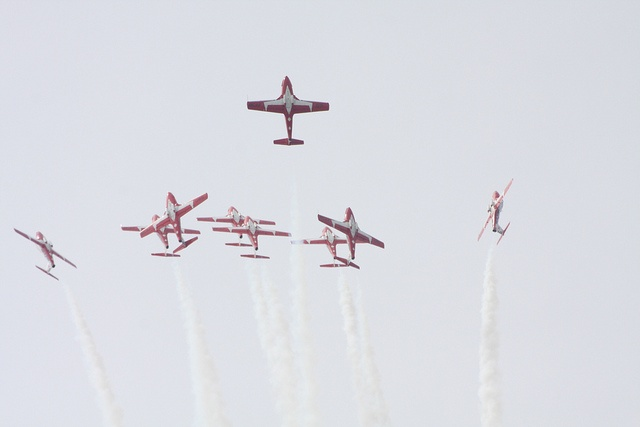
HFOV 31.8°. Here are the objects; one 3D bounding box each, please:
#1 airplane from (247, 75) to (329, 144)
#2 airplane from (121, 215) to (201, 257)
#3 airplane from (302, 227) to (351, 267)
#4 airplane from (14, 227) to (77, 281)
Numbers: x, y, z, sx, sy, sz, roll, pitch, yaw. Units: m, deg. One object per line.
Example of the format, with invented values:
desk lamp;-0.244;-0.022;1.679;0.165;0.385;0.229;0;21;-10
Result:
airplane;-3.527;-10.966;126.969;9.562;2.148;9.096;-1;-53;1
airplane;-19.459;1.415;129.403;10.388;7.838;3.233;-6;-74;-16
airplane;0.917;3.769;123.621;6.360;1.910;5.175;3;-92;6
airplane;-22.330;3.075;90.767;5.379;4.239;1.423;31;-61;-31
